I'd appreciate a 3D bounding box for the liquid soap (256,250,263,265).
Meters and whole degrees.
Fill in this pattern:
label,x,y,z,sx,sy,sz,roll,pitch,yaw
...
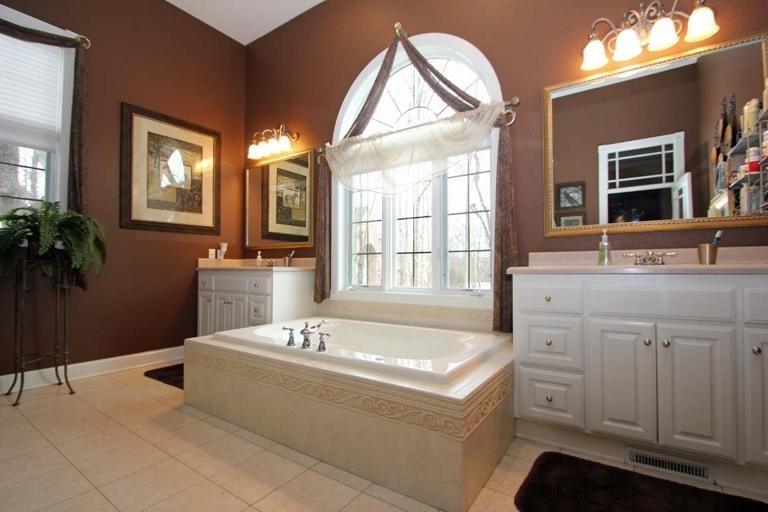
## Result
label,x,y,z,sx,sy,sz,roll,pitch,yaw
liquid soap,-1.489,0.018,5.781,0.069,0.175,0.404,0,1,-16

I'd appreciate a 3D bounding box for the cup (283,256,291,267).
label,x,y,z,sx,sy,sz,roll,pitch,yaw
cup,-1.108,0.049,5.541,0.083,0.110,0.138,0,1,8

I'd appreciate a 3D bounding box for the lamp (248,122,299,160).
label,x,y,z,sx,sy,sz,roll,pitch,yaw
lamp,-1.380,-1.380,5.732,0.744,0.397,0.329,1,1,40

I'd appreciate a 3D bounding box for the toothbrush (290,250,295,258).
label,x,y,z,sx,sy,sz,roll,pitch,yaw
toothbrush,-1.061,-0.022,5.599,0.025,0.098,0.017,11,4,19

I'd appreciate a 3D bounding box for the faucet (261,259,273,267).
label,x,y,z,sx,sy,sz,roll,pitch,yaw
faucet,-1.363,0.070,5.695,0.081,0.078,0.181,0,1,-34

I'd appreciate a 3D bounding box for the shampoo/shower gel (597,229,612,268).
label,x,y,z,sx,sy,sz,roll,pitch,yaw
shampoo/shower gel,1.803,-0.083,3.918,0.091,0.299,0.227,1,1,25

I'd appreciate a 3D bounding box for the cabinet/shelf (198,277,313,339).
label,x,y,z,sx,sy,sz,roll,pitch,yaw
cabinet/shelf,-1.278,0.523,4.981,0.628,0.596,0.267,-4,-7,36

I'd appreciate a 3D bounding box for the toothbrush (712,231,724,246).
label,x,y,z,sx,sy,sz,roll,pitch,yaw
toothbrush,2.538,-0.144,3.653,0.080,0.113,0.196,1,1,35

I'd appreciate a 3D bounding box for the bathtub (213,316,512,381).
label,x,y,z,sx,sy,sz,roll,pitch,yaw
bathtub,-0.075,0.770,4.080,2.118,0.293,1.129,1,1,23

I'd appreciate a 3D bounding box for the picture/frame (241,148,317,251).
label,x,y,z,sx,sy,sz,roll,pitch,yaw
picture/frame,-1.206,-0.668,5.714,1.228,1.205,0.123,-1,-1,35

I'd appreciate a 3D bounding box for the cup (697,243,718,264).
label,x,y,z,sx,sy,sz,roll,pitch,yaw
cup,2.460,-0.018,3.644,0.124,0.152,0.185,1,1,35

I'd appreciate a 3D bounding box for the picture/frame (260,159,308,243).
label,x,y,z,sx,sy,sz,roll,pitch,yaw
picture/frame,-1.220,-0.620,5.754,0.061,1.090,1.162,7,13,31
